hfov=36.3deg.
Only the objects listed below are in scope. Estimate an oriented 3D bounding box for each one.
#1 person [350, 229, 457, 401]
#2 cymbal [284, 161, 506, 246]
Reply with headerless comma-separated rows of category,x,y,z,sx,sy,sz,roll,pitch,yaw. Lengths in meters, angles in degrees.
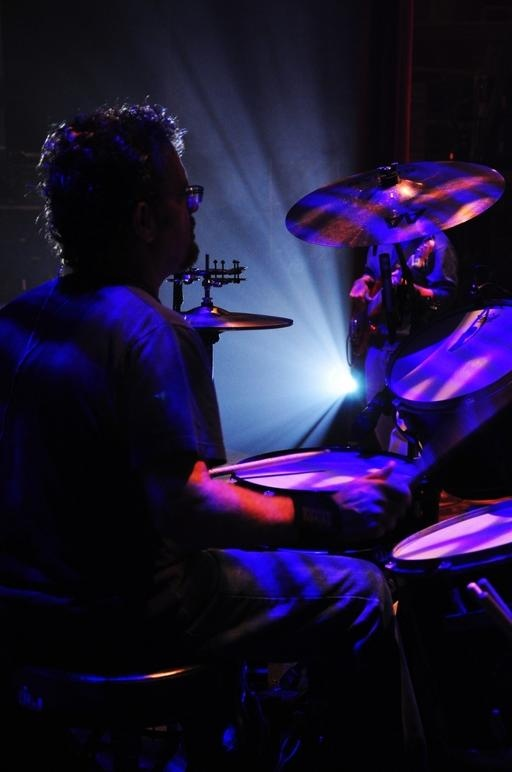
person,0.538,-0.359,3.251,0.210,0.768,0.424,21,-14,-36
cymbal,0.497,-0.578,2.578,0.430,0.090,0.418,-30,36,-15
